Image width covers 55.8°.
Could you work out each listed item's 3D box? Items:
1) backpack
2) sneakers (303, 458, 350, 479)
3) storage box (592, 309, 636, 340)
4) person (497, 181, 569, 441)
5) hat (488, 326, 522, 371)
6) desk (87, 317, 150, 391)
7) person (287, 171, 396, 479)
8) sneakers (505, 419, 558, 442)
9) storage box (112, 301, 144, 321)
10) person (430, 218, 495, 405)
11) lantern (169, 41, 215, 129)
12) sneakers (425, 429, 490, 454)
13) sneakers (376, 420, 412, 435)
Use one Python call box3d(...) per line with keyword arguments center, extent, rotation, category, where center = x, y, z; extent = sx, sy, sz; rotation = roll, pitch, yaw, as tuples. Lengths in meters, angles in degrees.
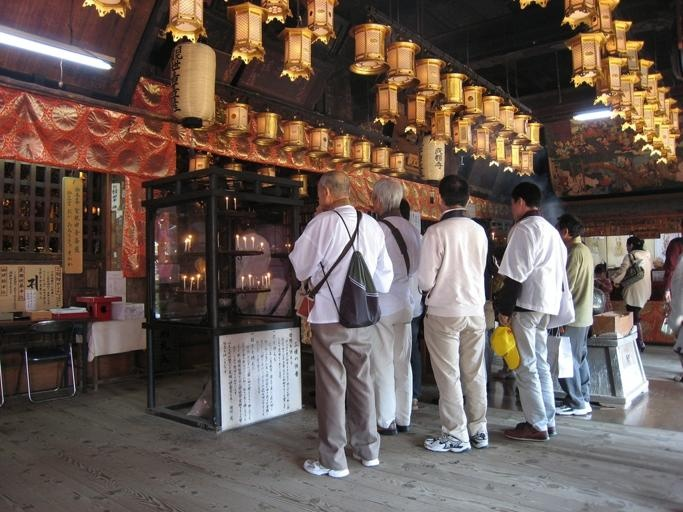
box3d(center=(0.144, 0.288, 5.786), extent=(0.227, 0.672, 0.328), rotation=(5, 9, 41), category="backpack")
box3d(center=(-0.144, 1.885, 5.831), extent=(0.405, 0.164, 0.145), rotation=(14, -7, 10), category="sneakers")
box3d(center=(3.284, 0.826, 7.921), extent=(0.288, 0.303, 0.734), rotation=(5, 9, 37), category="storage box")
box3d(center=(1.906, 0.697, 6.390), extent=(0.738, 2.175, 0.417), rotation=(-4, 8, -27), category="person")
box3d(center=(1.588, 0.899, 6.332), extent=(0.321, 0.405, 0.167), rotation=(-28, -11, 38), category="hat")
box3d(center=(-2.971, 1.278, 8.575), extent=(0.448, 0.804, 0.965), rotation=(-11, -6, 31), category="desk")
box3d(center=(-0.006, 0.574, 5.898), extent=(0.846, 2.686, 0.729), rotation=(0, 7, 8), category="person")
box3d(center=(1.855, 1.731, 6.425), extent=(0.519, 0.210, 0.185), rotation=(2, -2, 13), category="sneakers")
box3d(center=(-2.809, 0.712, 8.635), extent=(0.276, 0.160, 0.274), rotation=(1, -2, -42), category="storage box")
box3d(center=(1.051, 0.619, 6.180), extent=(0.632, 2.220, 0.429), rotation=(0, 7, 7), category="person")
box3d(center=(-1.782, -2.084, 7.847), extent=(0.508, 1.001, 0.203), rotation=(-2, 7, -14), category="lantern")
box3d(center=(1.095, 1.771, 6.245), extent=(0.625, 0.266, 0.218), rotation=(1, -2, 4), category="sneakers")
box3d(center=(0.517, 1.744, 6.536), extent=(0.344, 0.145, 0.125), rotation=(2, 0, 17), category="sneakers")
